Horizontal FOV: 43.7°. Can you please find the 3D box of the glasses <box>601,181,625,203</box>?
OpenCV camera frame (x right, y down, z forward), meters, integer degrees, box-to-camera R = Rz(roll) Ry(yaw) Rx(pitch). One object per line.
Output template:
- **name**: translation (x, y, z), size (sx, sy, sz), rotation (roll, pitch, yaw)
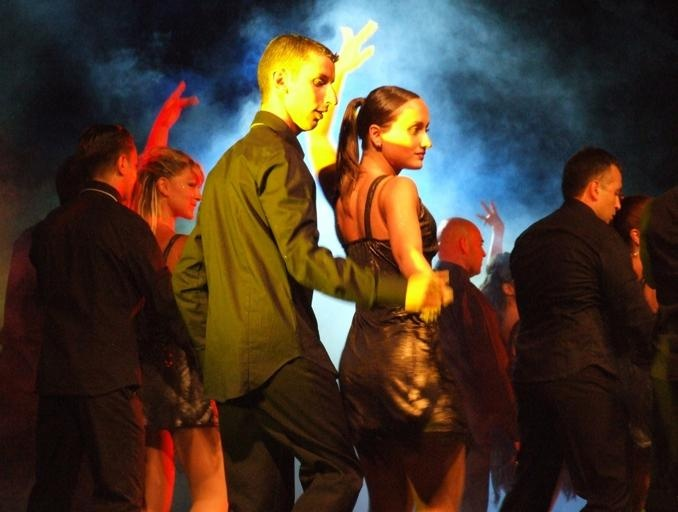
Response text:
- **glasses**: translation (1.408, -0.336, 4.343), size (0.135, 0.085, 0.040), rotation (24, -28, -31)
